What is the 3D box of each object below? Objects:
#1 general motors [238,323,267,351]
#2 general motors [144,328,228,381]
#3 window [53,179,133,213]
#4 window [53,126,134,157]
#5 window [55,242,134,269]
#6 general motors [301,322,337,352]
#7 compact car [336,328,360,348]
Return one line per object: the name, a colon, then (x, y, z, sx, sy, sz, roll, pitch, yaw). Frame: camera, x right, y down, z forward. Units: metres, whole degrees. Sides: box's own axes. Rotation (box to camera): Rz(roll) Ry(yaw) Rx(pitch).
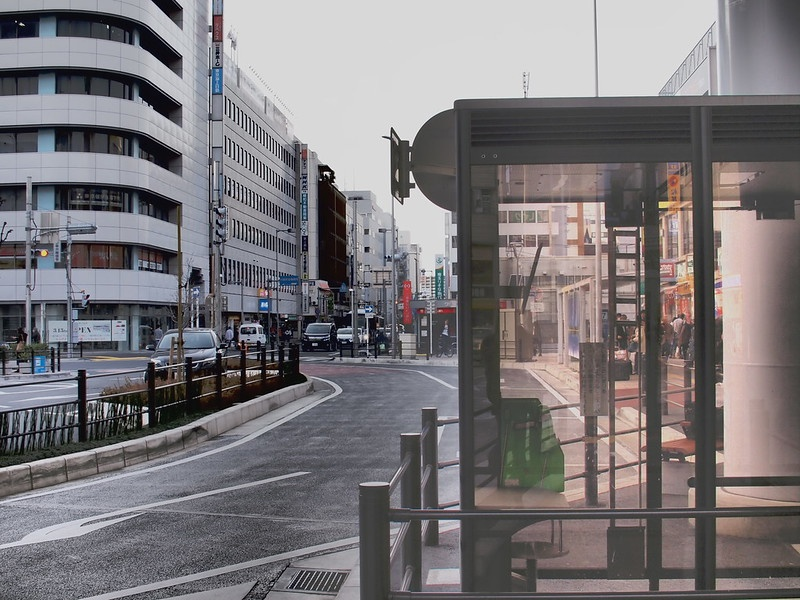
general motors: (-8.184, 2.042, 57.063, 1.327, 1.690, 2.597, 0, 4, 4)
general motors: (-5.822, 1.290, 27.799, 1.404, 1.367, 3.194, -2, -6, -2)
window: (-17.056, -5.685, 57.349, 3.950, 1.592, 1.109, -11, 4, -20)
window: (-17.029, -8.890, 57.362, 4.101, 1.579, 1.037, -11, 5, -26)
window: (-16.409, -2.454, 56.972, 0.848, 1.443, 3.425, -5, 6, 43)
general motors: (-4.522, 2.131, 58.992, 1.082, 1.136, 2.062, -1, -8, 3)
compact car: (-3.188, 2.310, 61.993, 0.968, 0.987, 1.855, -1, -8, 2)
